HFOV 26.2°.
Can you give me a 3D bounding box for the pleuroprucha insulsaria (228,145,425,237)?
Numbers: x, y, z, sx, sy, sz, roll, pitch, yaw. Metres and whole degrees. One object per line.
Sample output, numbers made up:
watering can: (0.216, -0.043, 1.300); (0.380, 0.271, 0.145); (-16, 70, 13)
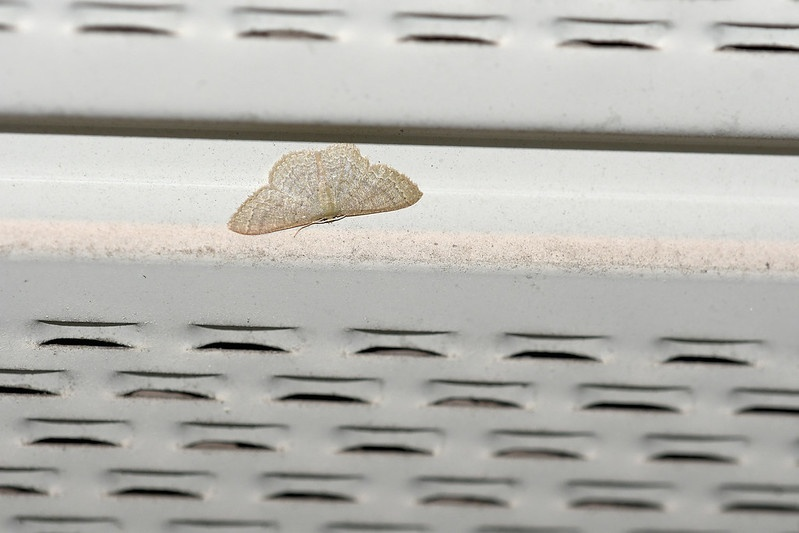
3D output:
pleuroprucha insulsaria: (-0.108, -0.119, 2.556); (0.319, 0.110, 0.018); (-12, 14, -31)
